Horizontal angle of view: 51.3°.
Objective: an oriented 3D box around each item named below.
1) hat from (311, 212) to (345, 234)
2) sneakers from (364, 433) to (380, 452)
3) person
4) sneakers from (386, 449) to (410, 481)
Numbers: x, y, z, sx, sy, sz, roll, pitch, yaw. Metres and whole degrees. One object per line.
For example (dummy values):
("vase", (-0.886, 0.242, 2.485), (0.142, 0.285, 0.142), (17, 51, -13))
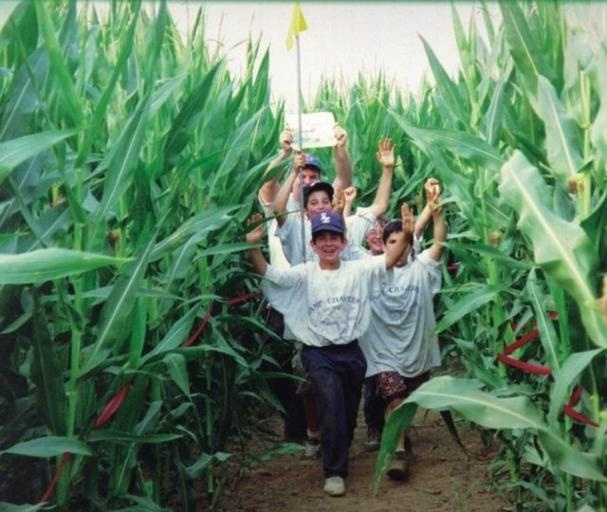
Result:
("hat", (0.139, -0.186, 3.664), (0.186, 0.133, 0.163), (-3, 6, -2))
("sneakers", (0.438, 1.232, 4.176), (0.050, 0.130, 0.168), (-12, -25, 15))
("person", (0.166, 0.532, 3.649), (0.824, 1.552, 0.500), (-2, 6, 5))
("sneakers", (0.563, 1.204, 3.655), (0.129, 0.234, 0.462), (-3, -17, 10))
